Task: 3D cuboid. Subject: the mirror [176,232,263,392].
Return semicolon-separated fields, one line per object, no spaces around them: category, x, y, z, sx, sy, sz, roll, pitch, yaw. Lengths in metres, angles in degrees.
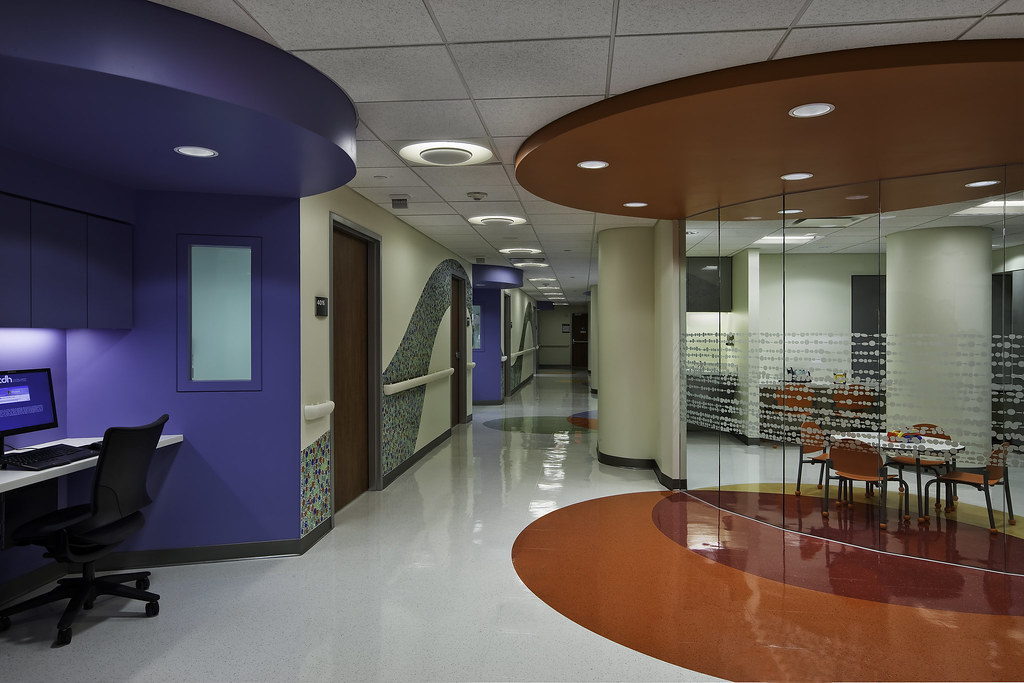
mirror;-2.538;-0.246;5.826;0.683;1.342;0.278;-1;8;-1
